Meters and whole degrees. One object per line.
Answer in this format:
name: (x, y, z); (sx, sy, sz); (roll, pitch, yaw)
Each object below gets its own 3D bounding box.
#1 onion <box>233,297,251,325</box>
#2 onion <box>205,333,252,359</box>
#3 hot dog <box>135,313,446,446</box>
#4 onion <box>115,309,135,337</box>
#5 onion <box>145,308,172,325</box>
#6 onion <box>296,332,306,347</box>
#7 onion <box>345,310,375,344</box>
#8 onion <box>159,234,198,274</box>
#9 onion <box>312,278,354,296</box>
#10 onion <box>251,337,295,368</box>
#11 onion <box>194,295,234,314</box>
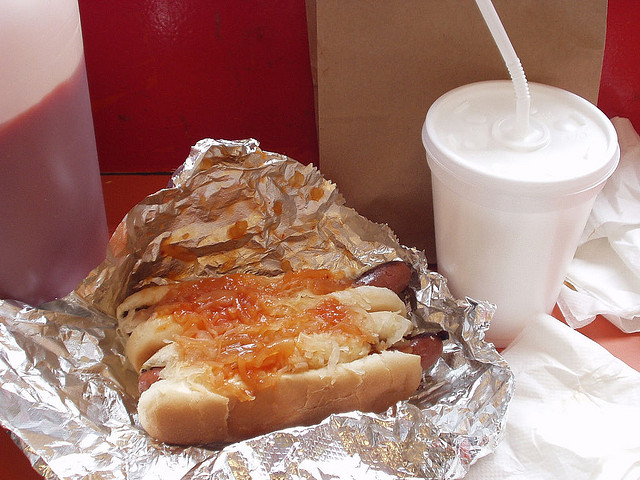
onion: (-0.173, 0.155, 1.259); (0.026, 0.015, 0.062); (-22, 37, -4)
onion: (-0.187, 0.212, 1.183); (0.076, 0.021, 0.046); (-26, 33, -17)
hot dog: (-0.059, 0.283, 1.308); (0.667, 0.187, 0.314); (-6, 26, -10)
onion: (-0.447, 0.187, 1.324); (0.046, 0.024, 0.063); (-21, 82, 14)
onion: (-0.358, 0.164, 1.259); (0.045, 0.011, 0.027); (-25, 34, -12)
onion: (-0.041, 0.210, 1.207); (0.020, 0.021, 0.024); (19, 40, 7)
onion: (0.086, 0.182, 1.273); (0.043, 0.018, 0.083); (-14, 69, -39)
onion: (-0.342, 0.035, 1.393); (0.064, 0.069, 0.019); (3, 52, 50)
onion: (0.020, 0.115, 1.345); (0.070, 0.017, 0.044); (6, 44, -11)
onion: (-0.104, 0.228, 1.177); (0.065, 0.017, 0.050); (-36, 68, -18)
onion: (-0.231, 0.137, 1.282); (0.095, 0.020, 0.032); (-21, 41, -16)
